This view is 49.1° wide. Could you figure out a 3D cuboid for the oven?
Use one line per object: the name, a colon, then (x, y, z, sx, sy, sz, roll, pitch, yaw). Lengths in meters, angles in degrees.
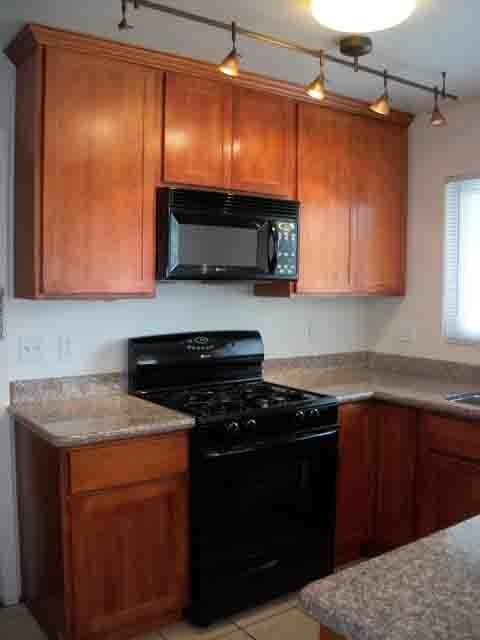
oven: (0.068, 0.759, 2.265, 0.675, 0.747, 0.482, -5, 8, -23)
